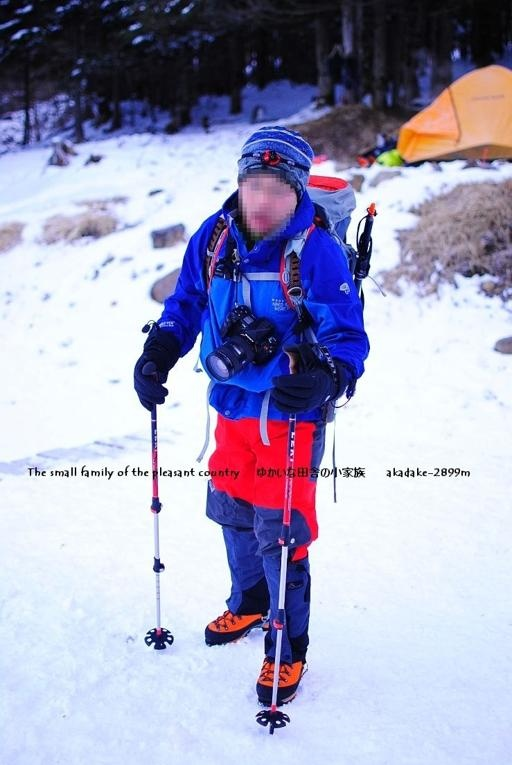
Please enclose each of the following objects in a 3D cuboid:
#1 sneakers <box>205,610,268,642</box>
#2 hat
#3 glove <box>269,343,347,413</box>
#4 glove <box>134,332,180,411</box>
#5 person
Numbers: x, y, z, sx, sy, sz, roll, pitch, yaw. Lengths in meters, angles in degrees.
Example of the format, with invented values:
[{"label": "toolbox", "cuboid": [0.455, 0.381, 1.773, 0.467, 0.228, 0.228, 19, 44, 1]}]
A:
[{"label": "sneakers", "cuboid": [-0.121, 1.250, 4.245, 0.337, 0.146, 0.117, -2, 3, -21]}, {"label": "hat", "cuboid": [0.090, -0.994, 3.667, 0.339, 0.324, 0.251, -2, 9, -4]}, {"label": "glove", "cuboid": [0.256, -0.025, 3.419, 0.337, 0.247, 0.141, -35, 19, -23]}, {"label": "glove", "cuboid": [-0.470, -0.051, 3.929, 0.217, 0.361, 0.160, 28, 19, 35]}, {"label": "person", "cuboid": [-0.003, 0.149, 3.829, 1.019, 2.626, 0.618, 6, 12, 38]}]
